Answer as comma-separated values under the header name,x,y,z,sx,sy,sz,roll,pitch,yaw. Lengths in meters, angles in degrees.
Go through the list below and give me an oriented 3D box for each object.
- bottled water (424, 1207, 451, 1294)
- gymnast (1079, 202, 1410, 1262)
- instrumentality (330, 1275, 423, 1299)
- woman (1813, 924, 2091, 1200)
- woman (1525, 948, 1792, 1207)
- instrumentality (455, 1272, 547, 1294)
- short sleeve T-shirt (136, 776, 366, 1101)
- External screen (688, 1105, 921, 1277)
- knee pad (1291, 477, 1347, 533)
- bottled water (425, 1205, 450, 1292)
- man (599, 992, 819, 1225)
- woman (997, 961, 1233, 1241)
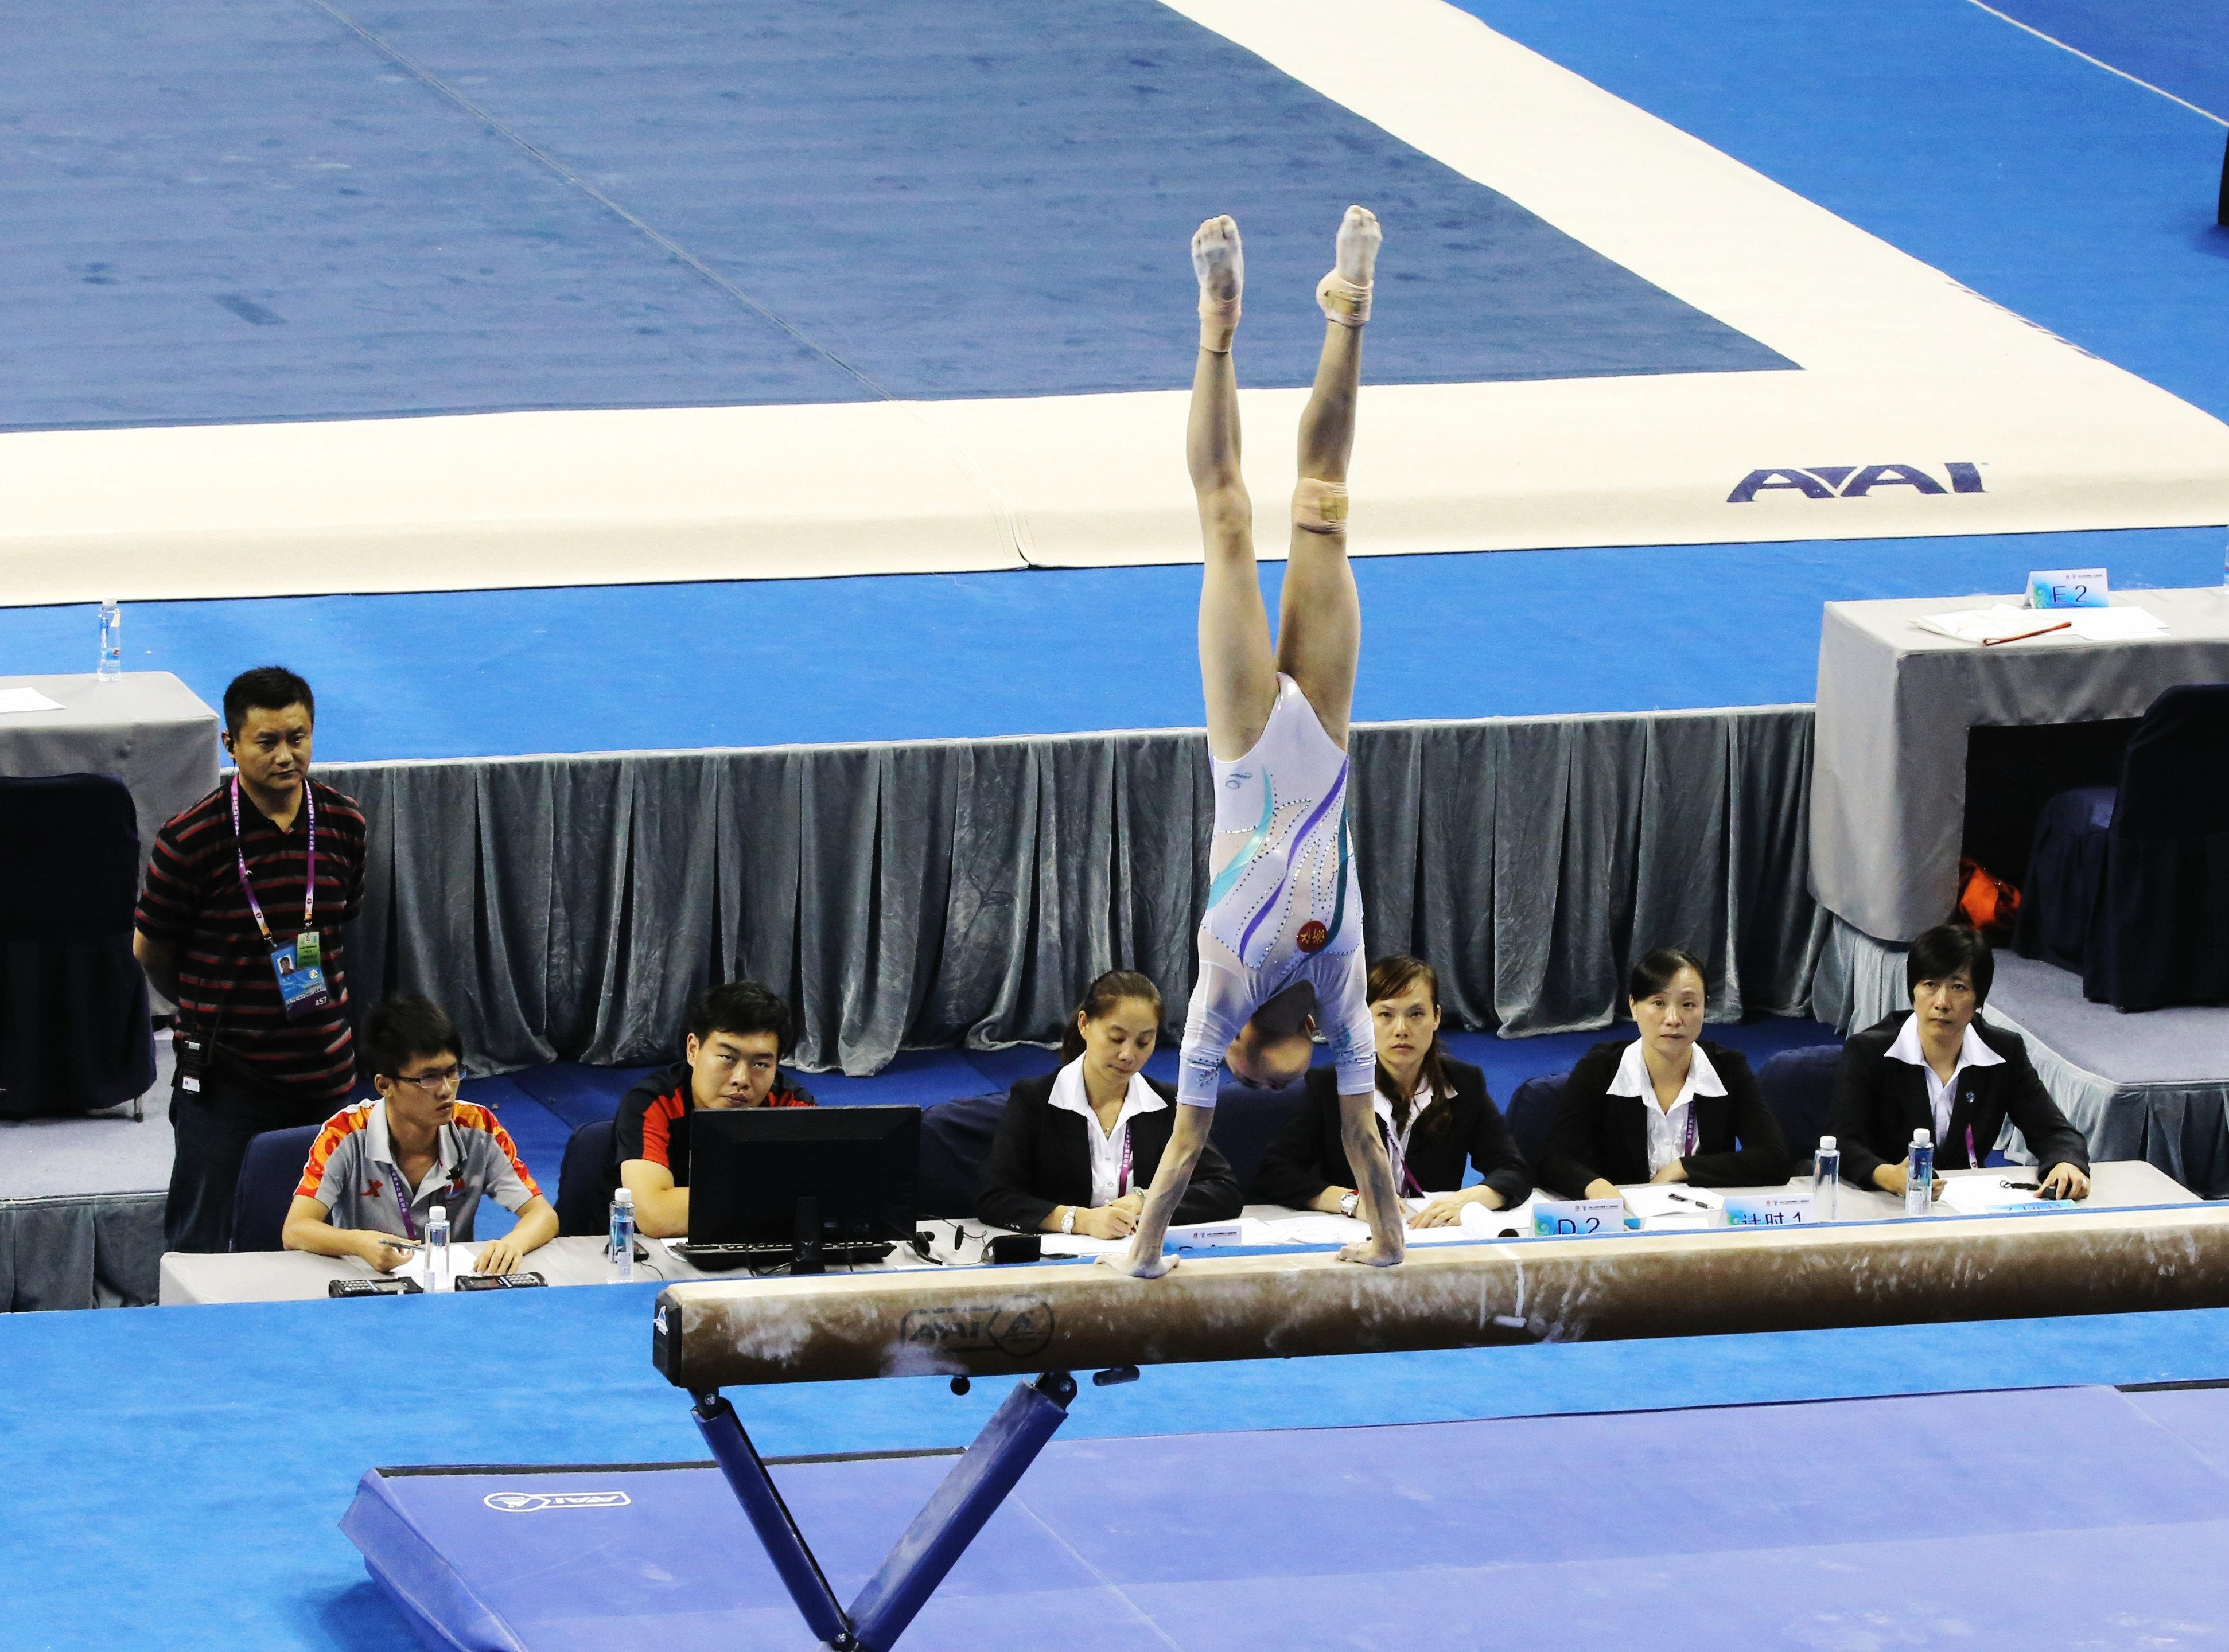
name,x,y,z,sx,sy,sz,roll,pitch,yaw
bottled water,-1.740,1.090,8.208,0.072,0.193,0.178,-1,1,-13
gymnast,0.304,-0.150,6.199,0.530,2.106,0.371,0,2,-3
instrumentality,-1.886,1.182,8.116,0.228,0.028,0.153,0,1,-9
woman,2.380,0.671,9.333,0.694,1.061,0.736,-4,12,-13
woman,1.507,0.733,9.259,0.745,0.900,0.631,-1,2,2
instrumentality,-1.576,1.177,8.188,0.152,0.028,0.089,-2,10,-5
short sleeve T-shirt,-2.520,0.345,9.284,0.824,1.043,0.539,-4,8,-34
External screen,-0.812,0.913,8.238,0.596,0.474,0.370,0,18,-19
knee pad,0.396,-0.612,6.116,0.095,0.114,0.106,5,10,38
bottled water,-1.740,1.090,8.208,0.072,0.193,0.178,-1,1,-13
man,-1.128,0.768,8.722,0.537,1.094,0.602,0,-1,-9
woman,-0.020,0.906,8.770,0.705,1.023,0.541,2,0,-13
